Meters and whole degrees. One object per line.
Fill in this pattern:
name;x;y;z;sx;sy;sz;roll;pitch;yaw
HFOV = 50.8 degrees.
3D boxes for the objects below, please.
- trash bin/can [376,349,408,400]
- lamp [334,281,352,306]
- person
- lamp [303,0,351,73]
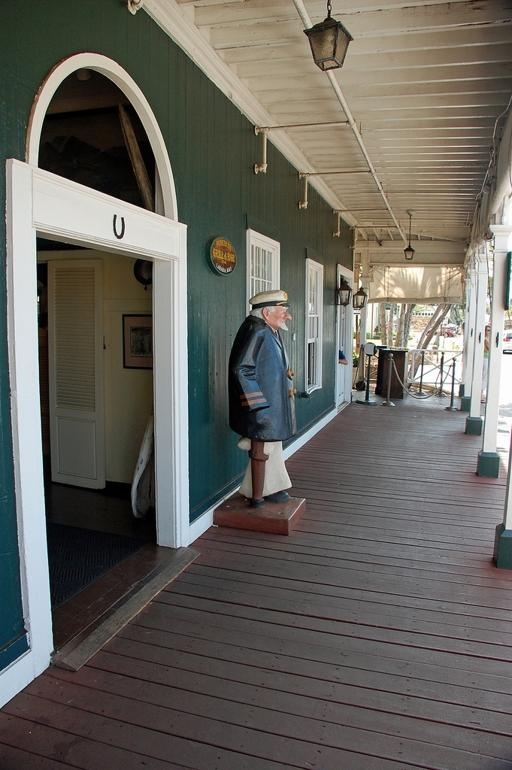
trash bin/can;2.715;-0.146;10.875;0.687;0.965;0.711;-10;14;-38
lamp;1.441;-1.471;8.883;0.224;0.365;0.387;2;5;12
person;0.040;0.128;3.666;0.388;1.503;0.602;3;5;26
lamp;0.357;-1.698;2.587;0.175;0.360;0.221;4;6;34
